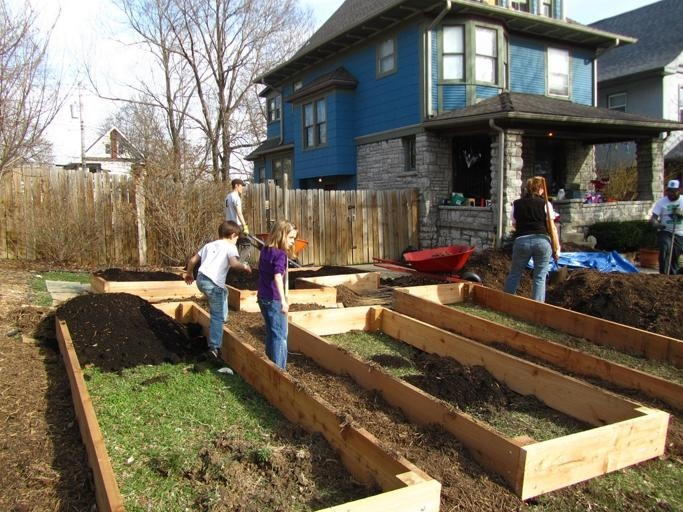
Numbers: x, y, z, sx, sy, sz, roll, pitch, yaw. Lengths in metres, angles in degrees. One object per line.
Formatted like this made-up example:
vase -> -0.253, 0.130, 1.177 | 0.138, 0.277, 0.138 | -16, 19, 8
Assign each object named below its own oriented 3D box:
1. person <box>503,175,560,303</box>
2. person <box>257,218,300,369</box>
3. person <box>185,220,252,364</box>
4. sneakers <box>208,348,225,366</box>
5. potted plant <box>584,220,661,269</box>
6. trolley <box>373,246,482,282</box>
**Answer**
person -> 2.872, -0.252, 8.020 | 0.718, 1.900, 0.817 | 4, 7, 29
person -> -0.680, 0.432, 5.535 | 0.395, 1.595, 0.583 | -1, 6, -11
person -> -1.426, 0.360, 6.031 | 0.671, 1.502, 0.805 | -1, 6, -17
sneakers -> -1.384, 1.113, 5.838 | 0.153, 0.202, 0.080 | -8, -27, -25
potted plant -> 7.487, -0.245, 14.338 | 1.819, 1.031, 1.565 | 2, 4, 45
trolley -> 1.700, 0.143, 10.090 | 1.588, 0.625, 0.872 | 2, 8, 18
